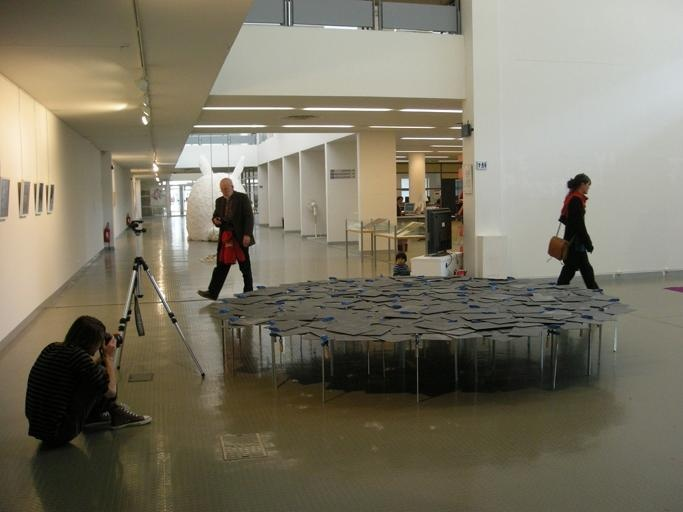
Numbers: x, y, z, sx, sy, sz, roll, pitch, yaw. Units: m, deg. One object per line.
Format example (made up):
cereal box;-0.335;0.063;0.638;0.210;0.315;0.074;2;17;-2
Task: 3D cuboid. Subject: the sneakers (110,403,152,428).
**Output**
sneakers;-1.716;1.286;4.286;0.392;0.233;0.146;0;3;-21

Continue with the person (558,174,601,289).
person;3.246;-0.336;7.161;0.498;1.550;0.747;2;9;22

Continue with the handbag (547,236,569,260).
handbag;3.095;-0.112;7.482;0.127;0.338;0.394;1;6;-10

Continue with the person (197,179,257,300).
person;-1.742;-0.185;7.927;0.851;1.945;1.314;-3;9;-13

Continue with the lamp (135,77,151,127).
lamp;-3.052;-2.394;8.033;0.171;0.178;0.659;-4;-37;-10

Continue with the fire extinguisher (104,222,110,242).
fire extinguisher;-7.627;-0.744;17.016;0.238;0.669;0.378;-5;9;-24

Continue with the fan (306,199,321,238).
fan;-1.064;-1.419;19.854;0.392;1.296;0.352;6;11;39

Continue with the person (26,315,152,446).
person;-1.991;0.914;4.209;0.981;0.916;0.728;-6;14;-37

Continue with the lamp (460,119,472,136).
lamp;2.228;-2.266;9.305;0.155;0.285;0.228;-3;9;-11

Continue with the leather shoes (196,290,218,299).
leather shoes;-2.085;0.615;8.126;0.277;0.130;0.122;19;-3;-18

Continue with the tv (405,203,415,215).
tv;2.645;-1.816;20.606;0.448;0.450;0.377;1;3;-6

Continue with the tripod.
tripod;-2.034;0.623;5.611;1.027;1.264;1.066;-7;3;-39

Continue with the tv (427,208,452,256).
tv;1.724;-0.410;9.116;0.178;0.836;0.828;3;9;37
